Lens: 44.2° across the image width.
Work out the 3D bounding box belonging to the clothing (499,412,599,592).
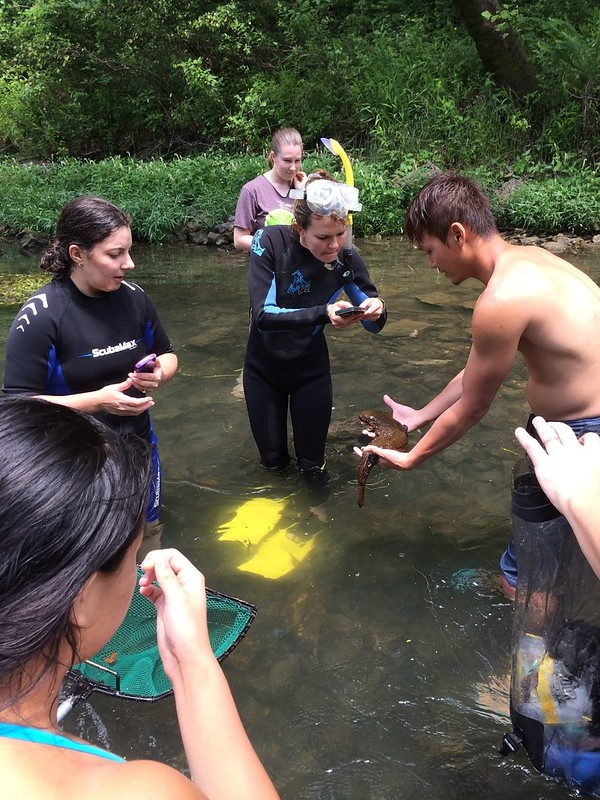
[{"bbox_3d":[0.933,0.417,2.867,0.230,0.786,0.266,18,10,38],"label":"clothing"}]

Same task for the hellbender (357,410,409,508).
[{"bbox_3d":[0.380,0.268,3.533,0.311,0.159,0.449,-11,32,-2],"label":"hellbender"}]
